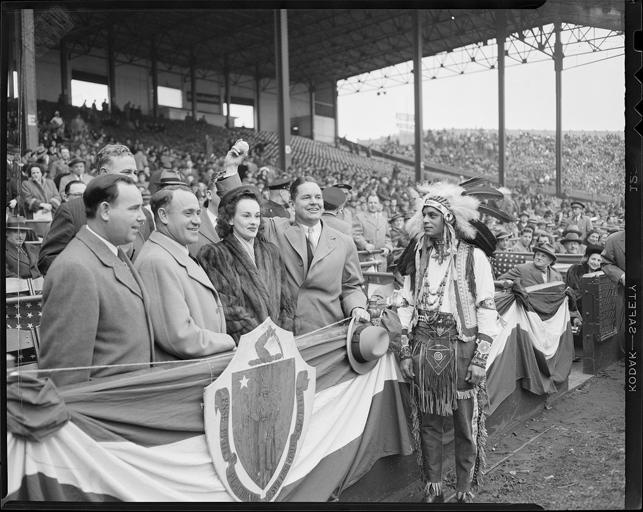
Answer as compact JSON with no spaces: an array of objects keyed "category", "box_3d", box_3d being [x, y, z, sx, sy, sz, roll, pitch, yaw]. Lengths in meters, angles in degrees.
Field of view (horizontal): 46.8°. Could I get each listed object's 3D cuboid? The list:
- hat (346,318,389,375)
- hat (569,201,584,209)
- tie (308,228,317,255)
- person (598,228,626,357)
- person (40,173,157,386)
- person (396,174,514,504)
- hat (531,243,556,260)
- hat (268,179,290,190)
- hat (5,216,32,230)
[{"category":"hat","box_3d":[0.384,0.806,6.457,0.278,0.452,0.422,5,8,41]},{"category":"hat","box_3d":[5.991,-1.179,17.480,0.343,0.192,0.430,6,-5,16]},{"category":"tie","box_3d":[-0.082,-0.143,6.934,0.039,0.193,0.122,-12,-13,7]},{"category":"person","box_3d":[4.441,0.631,11.309,0.362,1.948,0.724,3,6,23]},{"category":"person","box_3d":[-1.621,0.154,5.327,0.808,1.465,0.434,-2,6,-19]},{"category":"person","box_3d":[1.116,0.777,6.666,0.888,2.855,0.639,1,6,11]},{"category":"hat","box_3d":[3.210,-0.089,10.598,0.247,0.124,0.314,22,-22,25]},{"category":"hat","box_3d":[-0.548,-0.923,9.608,0.180,0.101,0.229,-8,8,-7]},{"category":"hat","box_3d":[-2.783,-0.293,6.809,0.230,0.116,0.261,3,-8,-40]}]
